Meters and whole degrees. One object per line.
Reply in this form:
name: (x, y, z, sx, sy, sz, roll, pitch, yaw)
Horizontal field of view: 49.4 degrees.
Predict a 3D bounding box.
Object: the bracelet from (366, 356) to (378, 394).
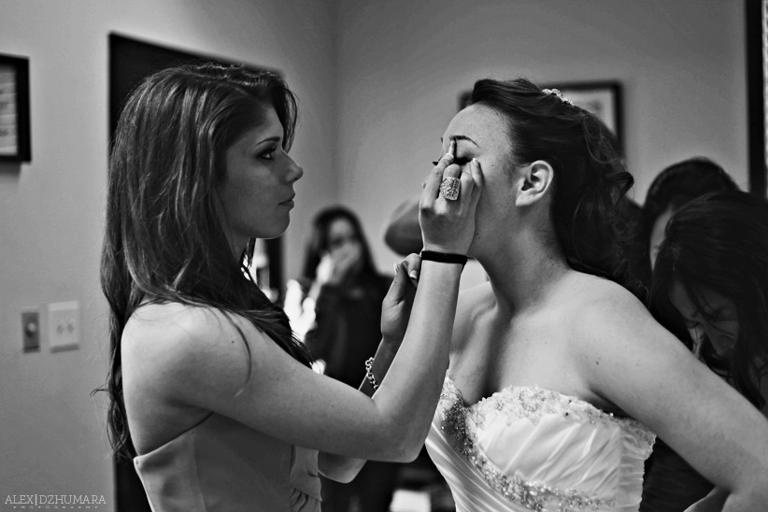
bracelet: (-0.041, 0.366, 2.501, 0.020, 0.096, 0.064, 3, 15, -10)
